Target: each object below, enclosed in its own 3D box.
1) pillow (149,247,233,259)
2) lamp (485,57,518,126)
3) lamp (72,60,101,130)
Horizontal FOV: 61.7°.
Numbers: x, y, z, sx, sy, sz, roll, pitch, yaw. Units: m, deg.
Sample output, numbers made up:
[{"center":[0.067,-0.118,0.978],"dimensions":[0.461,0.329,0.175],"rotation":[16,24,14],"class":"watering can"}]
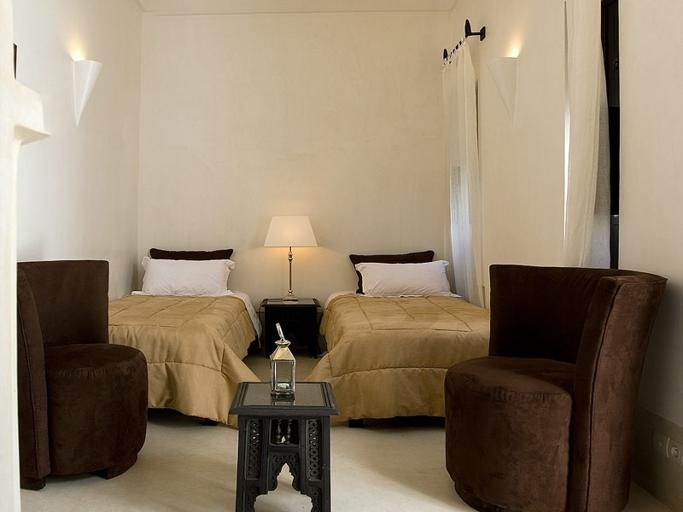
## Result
[{"center":[-1.411,-0.013,5.306],"dimensions":[0.595,0.103,0.169],"rotation":[0,17,-6],"class":"pillow"},{"center":[1.209,-1.240,4.309],"dimensions":[0.188,0.482,0.194],"rotation":[-1,4,1],"class":"lamp"},{"center":[-1.960,-1.252,4.410],"dimensions":[0.164,0.495,0.203],"rotation":[-1,4,-3],"class":"lamp"}]
